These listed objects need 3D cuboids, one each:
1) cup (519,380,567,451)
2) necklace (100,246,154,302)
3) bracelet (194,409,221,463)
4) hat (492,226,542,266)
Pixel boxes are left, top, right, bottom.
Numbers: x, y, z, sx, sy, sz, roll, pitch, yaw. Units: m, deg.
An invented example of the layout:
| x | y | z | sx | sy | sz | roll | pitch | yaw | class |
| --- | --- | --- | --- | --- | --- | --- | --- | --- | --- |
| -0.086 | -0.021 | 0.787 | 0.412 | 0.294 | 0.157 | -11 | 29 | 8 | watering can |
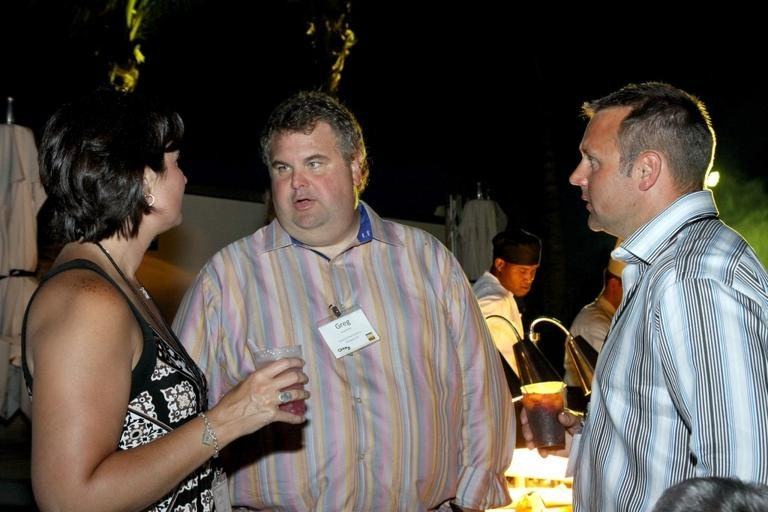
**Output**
| x | y | z | sx | sy | sz | roll | pitch | yaw | class |
| --- | --- | --- | --- | --- | --- | --- | --- | --- | --- |
| 0.732 | 0.723 | 3.463 | 0.261 | 0.341 | 0.307 | -7 | -11 | 26 | cup |
| -1.007 | 0.085 | 2.954 | 0.053 | 0.224 | 0.125 | -40 | -3 | 23 | necklace |
| -0.650 | 0.660 | 2.745 | 0.041 | 0.134 | 0.103 | -23 | -12 | 16 | bracelet |
| 1.029 | -0.086 | 6.027 | 0.320 | 0.203 | 0.304 | -6 | 9 | -39 | hat |
